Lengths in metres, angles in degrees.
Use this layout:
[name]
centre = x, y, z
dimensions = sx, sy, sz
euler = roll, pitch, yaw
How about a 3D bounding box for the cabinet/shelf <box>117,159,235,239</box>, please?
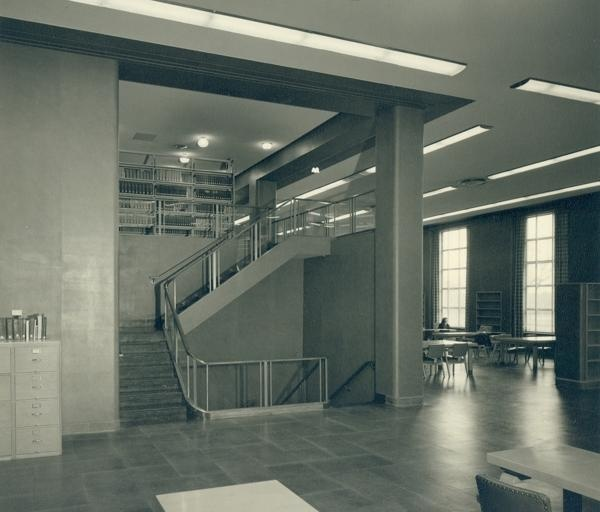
[cabinet/shelf]
centre = -2.649, -1.150, 14.295
dimensions = 1.933, 1.702, 0.705
euler = 1, -5, -19
